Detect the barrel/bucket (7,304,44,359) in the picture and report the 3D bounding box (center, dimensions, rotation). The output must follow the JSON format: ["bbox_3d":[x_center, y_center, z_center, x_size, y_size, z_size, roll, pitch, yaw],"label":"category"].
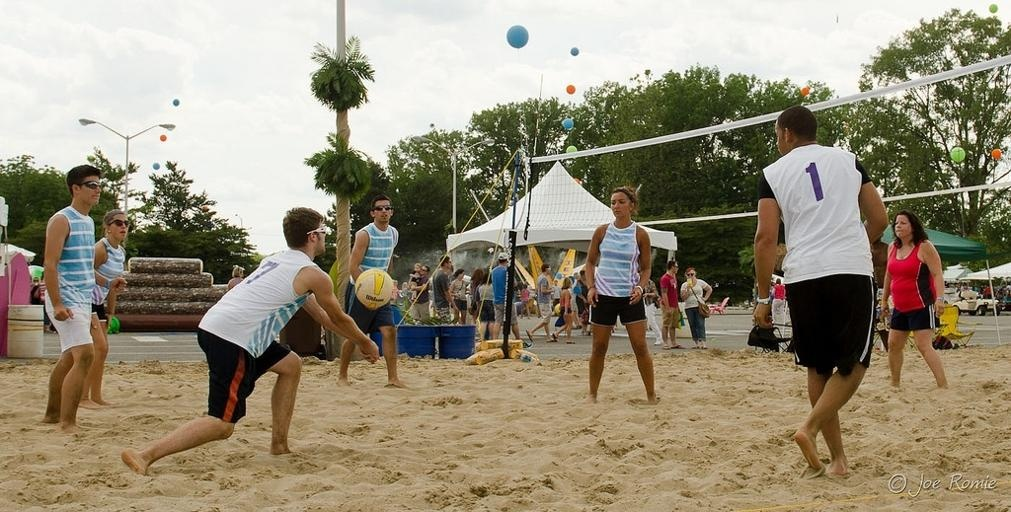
[{"bbox_3d":[-9.586,1.481,16.032,0.670,1.018,0.631,0,11,0],"label":"barrel/bucket"}]

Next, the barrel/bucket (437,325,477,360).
[{"bbox_3d":[-0.978,1.674,15.875,0.726,0.477,0.690,0,-5,0],"label":"barrel/bucket"}]

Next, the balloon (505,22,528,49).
[{"bbox_3d":[0.251,-4.637,16.901,0.354,0.451,0.805,-1,10,-3],"label":"balloon"}]

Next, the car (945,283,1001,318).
[{"bbox_3d":[18.303,1.695,31.561,1.841,1.045,2.558,0,-5,-29],"label":"car"}]

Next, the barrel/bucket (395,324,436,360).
[{"bbox_3d":[-1.738,1.627,15.748,0.745,0.373,0.676,0,-6,-5],"label":"barrel/bucket"}]

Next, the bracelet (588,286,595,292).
[{"bbox_3d":[1.266,0.457,11.770,0.092,0.064,0.070,-1,10,-7],"label":"bracelet"}]

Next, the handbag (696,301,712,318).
[{"bbox_3d":[4.523,1.254,18.244,0.326,0.563,0.634,-4,-4,22],"label":"handbag"}]

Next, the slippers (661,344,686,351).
[{"bbox_3d":[3.861,2.064,18.527,0.546,0.082,0.164,-1,0,5],"label":"slippers"}]

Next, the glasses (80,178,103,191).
[{"bbox_3d":[-5.631,-0.996,10.980,0.175,0.147,0.065,8,8,-4],"label":"glasses"}]

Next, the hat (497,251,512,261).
[{"bbox_3d":[-0.036,-0.031,17.726,0.325,0.131,0.413,-1,-5,6],"label":"hat"}]

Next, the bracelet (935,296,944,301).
[{"bbox_3d":[6.649,0.624,12.349,0.168,0.054,0.121,0,-2,-2],"label":"bracelet"}]

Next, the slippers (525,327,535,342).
[{"bbox_3d":[0.649,2.001,20.641,0.207,0.142,0.437,-26,-34,3],"label":"slippers"}]

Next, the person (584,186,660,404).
[{"bbox_3d":[1.713,0.584,11.815,1.421,3.162,1.086,1,-2,-1],"label":"person"}]

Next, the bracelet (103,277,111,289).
[{"bbox_3d":[-5.696,0.373,11.505,0.093,0.105,0.113,2,18,-16],"label":"bracelet"}]

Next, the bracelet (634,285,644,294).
[{"bbox_3d":[1.934,0.461,11.700,0.143,0.082,0.170,0,-2,1],"label":"bracelet"}]

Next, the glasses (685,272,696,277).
[{"bbox_3d":[4.278,0.377,18.629,0.190,0.092,0.223,-1,-8,3],"label":"glasses"}]
